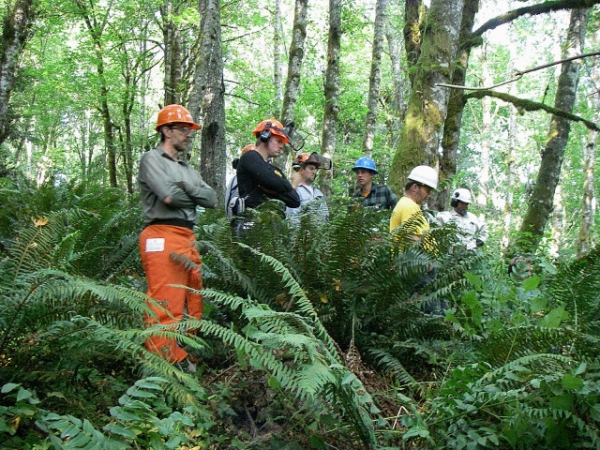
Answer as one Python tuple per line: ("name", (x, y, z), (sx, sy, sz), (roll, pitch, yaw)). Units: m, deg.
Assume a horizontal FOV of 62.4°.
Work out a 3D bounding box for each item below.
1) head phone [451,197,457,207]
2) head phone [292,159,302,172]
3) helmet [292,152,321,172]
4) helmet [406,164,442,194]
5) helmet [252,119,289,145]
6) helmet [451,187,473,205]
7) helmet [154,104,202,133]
("head phone", (2.272, -0.333, 7.268), (0.102, 0.097, 0.116), (1, -17, -12))
("head phone", (-0.044, -0.729, 6.023), (0.119, 0.108, 0.142), (-8, -5, -22))
("helmet", (0.052, -0.766, 5.975), (0.327, 0.133, 0.207), (-11, 0, 14))
("helmet", (1.232, -0.465, 4.916), (0.340, 0.139, 0.225), (12, 14, 13))
("helmet", (-0.303, -0.954, 5.085), (0.349, 0.142, 0.229), (6, 2, -22))
("helmet", (2.318, -0.439, 7.249), (0.243, 0.139, 0.297), (4, 6, -34))
("helmet", (-1.101, -0.977, 4.482), (0.346, 0.144, 0.269), (-2, -3, -32))
